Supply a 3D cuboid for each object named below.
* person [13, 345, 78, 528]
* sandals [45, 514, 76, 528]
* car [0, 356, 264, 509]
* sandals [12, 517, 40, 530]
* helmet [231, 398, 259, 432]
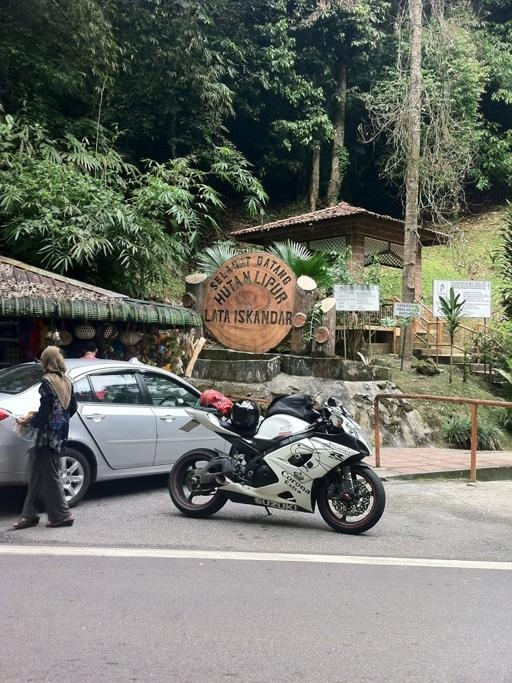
[{"bbox_3d":[-1.816,0.821,4.955,0.544,1.566,0.373,4,-6,-41],"label":"person"},{"bbox_3d":[-1.699,1.547,4.907,0.248,0.093,0.089,3,-8,5],"label":"sandals"},{"bbox_3d":[-1.578,0.825,6.221,1.200,1.008,2.717,-4,-4,44],"label":"car"},{"bbox_3d":[-1.996,1.559,4.882,0.242,0.095,0.077,4,-2,-9],"label":"sandals"},{"bbox_3d":[-0.129,0.667,5.262,0.231,0.288,0.291,2,18,-28],"label":"helmet"}]
